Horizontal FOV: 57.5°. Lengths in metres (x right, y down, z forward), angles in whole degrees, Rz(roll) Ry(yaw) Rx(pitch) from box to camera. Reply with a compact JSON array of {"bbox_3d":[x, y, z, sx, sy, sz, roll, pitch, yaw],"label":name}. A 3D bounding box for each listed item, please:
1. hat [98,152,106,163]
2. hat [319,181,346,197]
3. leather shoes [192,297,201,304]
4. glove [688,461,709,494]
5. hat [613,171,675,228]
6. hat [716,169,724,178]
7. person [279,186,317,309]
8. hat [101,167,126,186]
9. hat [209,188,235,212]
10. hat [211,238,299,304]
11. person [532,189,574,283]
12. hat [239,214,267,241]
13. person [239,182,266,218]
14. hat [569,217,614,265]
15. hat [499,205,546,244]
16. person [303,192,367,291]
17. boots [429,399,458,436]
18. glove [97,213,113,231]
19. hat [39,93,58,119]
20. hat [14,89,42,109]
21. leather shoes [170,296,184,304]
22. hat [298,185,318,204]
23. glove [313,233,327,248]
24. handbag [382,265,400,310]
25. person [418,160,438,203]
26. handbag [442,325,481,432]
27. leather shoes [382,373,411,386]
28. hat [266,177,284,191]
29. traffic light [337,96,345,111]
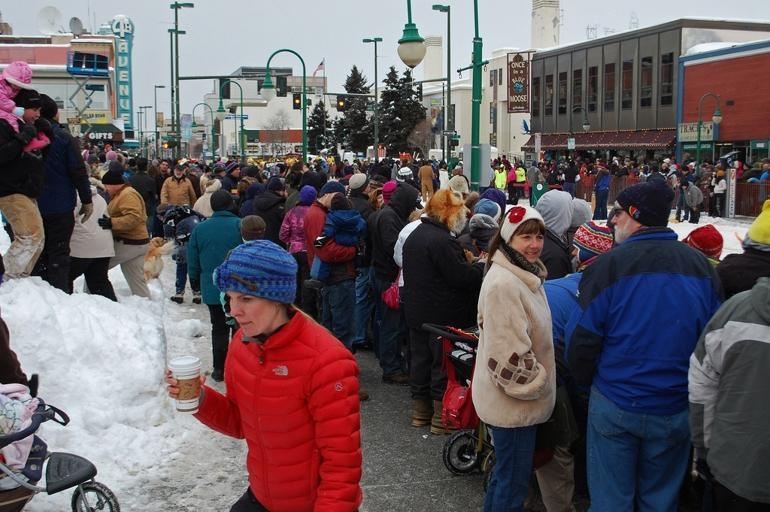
[{"bbox_3d":[-7.837,-2.721,19.359,0.239,0.207,0.340,6,4,-18],"label":"hat"},{"bbox_3d":[-0.773,-1.001,10.238,0.272,0.275,0.220,-4,12,-11],"label":"hat"},{"bbox_3d":[-3.589,0.852,13.350,0.097,0.123,0.131,0,2,23],"label":"leather shoes"},{"bbox_3d":[3.127,2.211,7.060,0.159,0.168,0.115,-10,21,-24],"label":"glove"},{"bbox_3d":[2.210,-0.470,5.920,0.339,0.448,0.466,6,11,-31],"label":"hat"},{"bbox_3d":[13.475,-3.334,28.139,0.248,0.235,0.365,-6,11,4],"label":"hat"},{"bbox_3d":[-1.384,-0.117,11.627,0.553,2.031,0.600,6,17,8],"label":"person"},{"bbox_3d":[-4.363,-1.288,11.315,0.310,0.288,0.246,-5,3,21],"label":"hat"},{"bbox_3d":[-2.328,-0.790,9.968,0.238,0.343,0.341,1,7,4],"label":"hat"},{"bbox_3d":[-0.846,0.090,4.779,0.470,0.377,0.388,1,4,-12],"label":"hat"},{"bbox_3d":[2.145,-0.274,9.039,0.560,1.320,0.486,4,33,8],"label":"person"},{"bbox_3d":[-1.790,-0.390,9.549,0.386,0.342,0.590,-2,13,-12],"label":"hat"},{"bbox_3d":[-2.538,-1.062,13.183,0.287,0.790,0.516,9,-3,33],"label":"person"},{"bbox_3d":[2.243,-0.145,7.583,0.399,0.467,0.372,17,20,-10],"label":"hat"},{"bbox_3d":[1.183,-0.349,6.051,0.269,0.345,0.361,16,55,19],"label":"hat"},{"bbox_3d":[-0.716,-0.312,9.965,0.829,1.532,0.872,-11,31,-32],"label":"person"},{"bbox_3d":[0.746,1.880,8.273,0.381,0.416,0.174,11,-5,-32],"label":"boots"},{"bbox_3d":[-4.115,-0.500,10.290,0.160,0.215,0.218,-2,11,-18],"label":"glove"},{"bbox_3d":[-4.441,-1.961,9.213,0.228,0.344,0.328,3,13,5],"label":"hat"},{"bbox_3d":[-4.328,-1.917,8.498,0.207,0.184,0.209,-2,23,-14],"label":"hat"},{"bbox_3d":[-3.960,0.814,13.348,0.192,0.146,0.124,19,14,25],"label":"leather shoes"},{"bbox_3d":[-1.216,-0.970,11.119,0.204,0.261,0.300,21,14,-14],"label":"hat"},{"bbox_3d":[-0.880,-0.206,9.517,0.109,0.211,0.082,28,-7,25],"label":"glove"},{"bbox_3d":[0.085,0.485,9.360,0.234,0.578,0.545,1,10,0],"label":"handbag"},{"bbox_3d":[1.523,-2.841,25.857,0.551,1.766,0.517,-1,36,5],"label":"person"},{"bbox_3d":[0.723,1.154,6.706,0.420,0.930,0.424,5,-4,-42],"label":"handbag"},{"bbox_3d":[0.158,1.719,9.785,0.357,0.188,0.148,-2,-2,17],"label":"leather shoes"},{"bbox_3d":[-1.978,-1.291,12.558,0.201,0.195,0.288,1,1,-16],"label":"hat"},{"bbox_3d":[-2.346,-8.242,37.476,0.393,0.687,1.258,2,10,2],"label":"traffic light"}]
